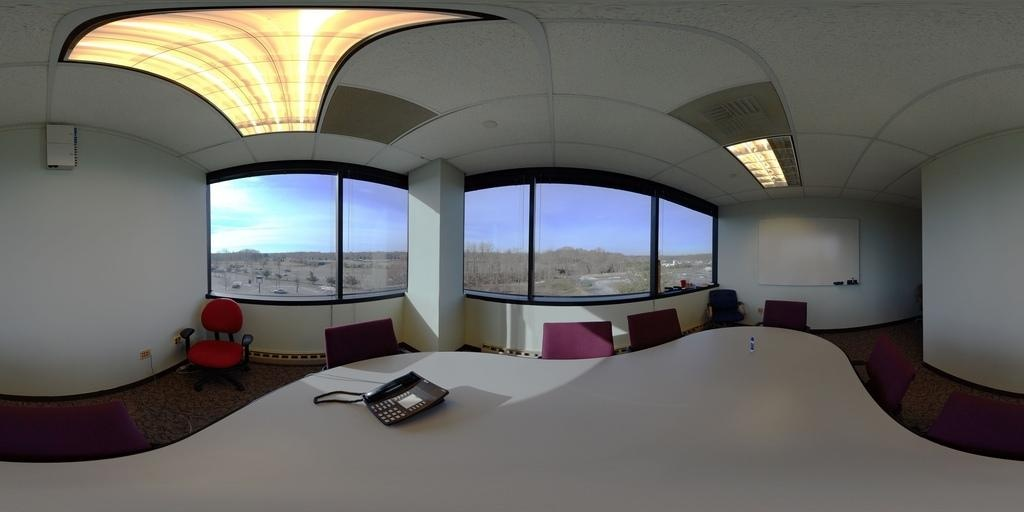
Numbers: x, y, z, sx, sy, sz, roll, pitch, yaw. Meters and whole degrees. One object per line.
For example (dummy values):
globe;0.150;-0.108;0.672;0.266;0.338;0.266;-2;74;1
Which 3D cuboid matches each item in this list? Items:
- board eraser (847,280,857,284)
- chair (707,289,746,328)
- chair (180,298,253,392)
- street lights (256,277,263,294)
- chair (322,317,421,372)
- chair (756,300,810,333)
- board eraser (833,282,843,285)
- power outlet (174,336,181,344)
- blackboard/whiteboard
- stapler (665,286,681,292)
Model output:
board eraser;6.117;0.462;9.488;0.186;0.092;0.035;0;1;-11
chair;3.837;0.967;9.659;0.776;0.710;0.680;0;-11;3
chair;-4.332;1.317;7.815;0.955;1.094;0.918;-7;25;-42
street lights;-4.001;0.447;8.366;0.093;0.254;0.034;0;2;-4
chair;-1.865;1.116;6.909;0.766;0.920;0.790;1;-7;-26
chair;4.185;0.908;8.130;0.620;0.812;0.526;-2;-11;26
board eraser;5.879;0.497;9.485;0.107;0.034;0.075;-5;3;-25
power outlet;-5.047;1.272;8.027;0.103;0.106;0.167;0;-1;-17
blackboard/whiteboard;5.436;-0.064;9.515;1.396;0.879;0.053;0;1;5
stapler;2.824;0.571;9.240;0.384;0.087;0.102;0;1;-40
